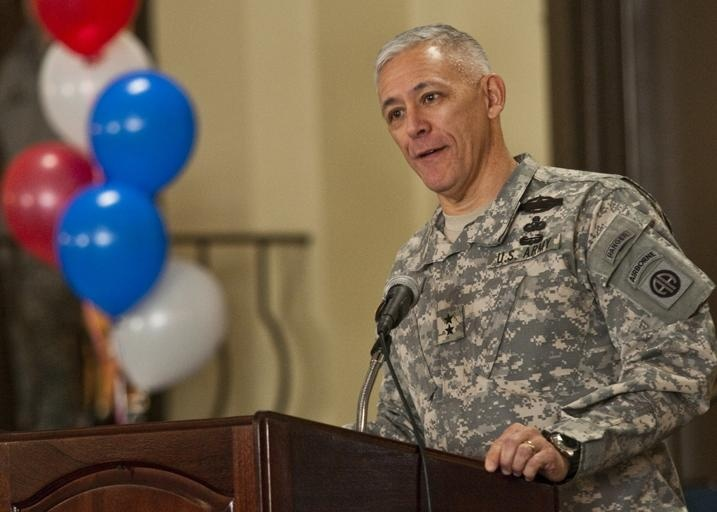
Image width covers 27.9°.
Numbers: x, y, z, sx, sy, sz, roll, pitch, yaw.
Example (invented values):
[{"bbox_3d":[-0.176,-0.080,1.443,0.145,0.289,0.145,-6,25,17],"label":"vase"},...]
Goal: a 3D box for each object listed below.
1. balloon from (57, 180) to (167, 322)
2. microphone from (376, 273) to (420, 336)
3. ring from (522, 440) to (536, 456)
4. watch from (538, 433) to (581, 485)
[{"bbox_3d":[-0.710,-0.024,4.180,0.333,0.404,0.343,-6,-9,23],"label":"balloon"},{"bbox_3d":[0.078,0.120,3.272,0.088,0.090,0.155,1,37,28],"label":"microphone"},{"bbox_3d":[0.372,0.415,3.149,0.011,0.025,0.028,-39,69,-14],"label":"ring"},{"bbox_3d":[0.441,0.428,3.156,0.075,0.049,0.098,7,23,26],"label":"watch"}]
